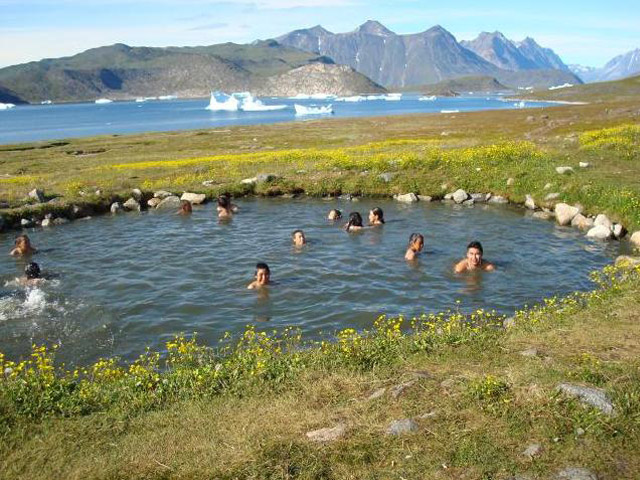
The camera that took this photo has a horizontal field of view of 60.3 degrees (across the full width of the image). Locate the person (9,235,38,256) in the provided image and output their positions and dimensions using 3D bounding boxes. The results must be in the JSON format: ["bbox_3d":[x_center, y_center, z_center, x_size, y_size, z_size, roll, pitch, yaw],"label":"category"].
[{"bbox_3d":[-13.049,0.268,24.207,0.586,0.699,0.905,4,10,27],"label":"person"}]

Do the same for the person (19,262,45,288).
[{"bbox_3d":[-10.594,1.284,20.087,0.792,0.760,0.945,-10,12,-21],"label":"person"}]
